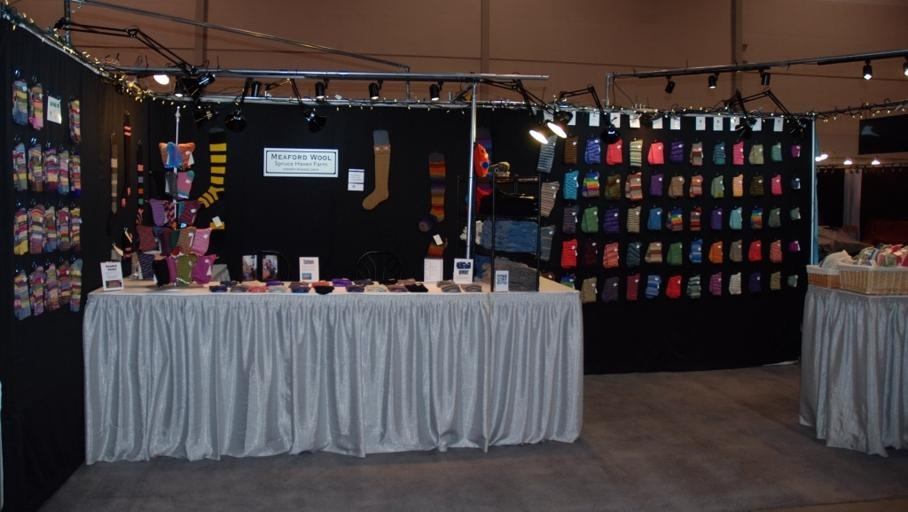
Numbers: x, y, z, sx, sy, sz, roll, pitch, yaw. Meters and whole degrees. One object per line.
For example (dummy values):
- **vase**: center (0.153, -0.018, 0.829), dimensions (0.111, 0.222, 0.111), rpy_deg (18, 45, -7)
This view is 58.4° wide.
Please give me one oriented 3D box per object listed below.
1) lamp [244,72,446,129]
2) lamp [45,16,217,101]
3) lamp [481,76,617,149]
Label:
- **lamp**: center (-1.176, -1.877, 9.976), dimensions (2.787, 0.608, 0.444), rpy_deg (-1, -1, -5)
- **lamp**: center (-3.857, -2.392, 9.901), dimensions (1.502, 1.166, 3.505), rpy_deg (-1, 6, -23)
- **lamp**: center (1.221, -1.778, 10.093), dimensions (1.471, 0.801, 2.530), rpy_deg (2, 6, 8)
